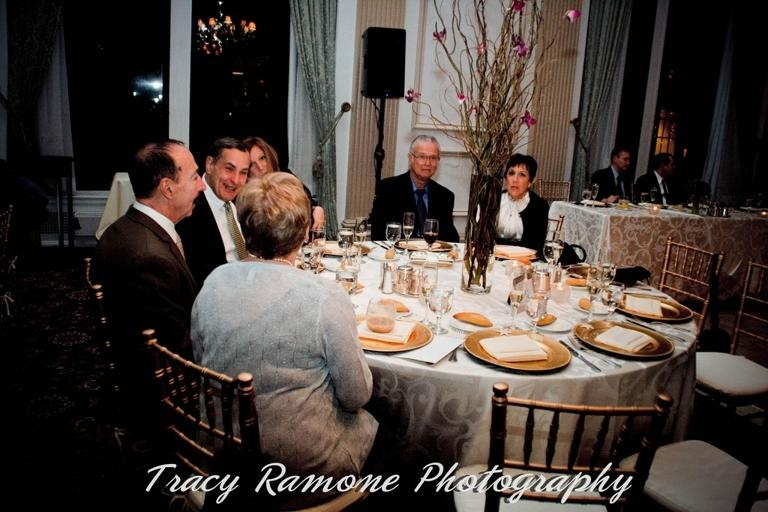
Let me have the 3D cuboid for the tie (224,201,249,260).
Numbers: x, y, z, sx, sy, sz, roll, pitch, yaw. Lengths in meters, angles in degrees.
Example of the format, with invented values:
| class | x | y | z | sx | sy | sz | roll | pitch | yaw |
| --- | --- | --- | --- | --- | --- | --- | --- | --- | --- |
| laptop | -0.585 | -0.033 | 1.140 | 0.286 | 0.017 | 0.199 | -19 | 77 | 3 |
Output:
| class | x | y | z | sx | sy | sz | roll | pitch | yaw |
| --- | --- | --- | --- | --- | --- | --- | --- | --- | --- |
| tie | -0.881 | -0.140 | 2.905 | 0.065 | 0.433 | 0.060 | -27 | -23 | 11 |

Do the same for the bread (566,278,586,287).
| class | x | y | z | sx | sy | sz | roll | pitch | yaw |
| --- | --- | --- | --- | --- | --- | --- | --- | --- | --- |
| bread | 1.176 | 0.157 | 2.977 | 0.051 | 0.036 | 0.110 | 1 | 0 | 8 |

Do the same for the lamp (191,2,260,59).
| class | x | y | z | sx | sy | sz | roll | pitch | yaw |
| --- | --- | --- | --- | --- | --- | --- | --- | --- | --- |
| lamp | -1.943 | -2.748 | 6.062 | 0.590 | 0.697 | 0.650 | -7 | 12 | -37 |

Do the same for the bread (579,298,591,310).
| class | x | y | z | sx | sy | sz | roll | pitch | yaw |
| --- | --- | --- | --- | --- | --- | --- | --- | --- | --- |
| bread | 1.118 | 0.267 | 2.705 | 0.046 | 0.031 | 0.055 | -6 | 13 | -17 |

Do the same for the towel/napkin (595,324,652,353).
| class | x | y | z | sx | sy | sz | roll | pitch | yaw |
| --- | --- | --- | --- | --- | --- | --- | --- | --- | --- |
| towel/napkin | 1.142 | 0.396 | 2.322 | 0.145 | 0.039 | 0.142 | -20 | 24 | -41 |

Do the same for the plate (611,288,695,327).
| class | x | y | z | sx | sy | sz | roll | pitch | yaw |
| --- | --- | --- | --- | --- | --- | --- | --- | --- | --- |
| plate | 1.476 | 0.286 | 2.671 | 0.244 | 0.028 | 0.241 | -11 | 23 | -23 |

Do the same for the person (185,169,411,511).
| class | x | y | z | sx | sy | sz | roll | pitch | yaw |
| --- | --- | --- | --- | --- | --- | --- | --- | --- | --- |
| person | -0.399 | 0.334 | 2.048 | 0.767 | 1.340 | 0.417 | 4 | 10 | 12 |

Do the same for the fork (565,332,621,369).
| class | x | y | z | sx | sy | sz | roll | pitch | yaw |
| --- | --- | --- | --- | --- | --- | --- | --- | --- | --- |
| fork | 0.964 | 0.429 | 2.269 | 0.083 | 0.030 | 0.261 | -17 | 31 | -25 |

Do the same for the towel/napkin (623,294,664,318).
| class | x | y | z | sx | sy | sz | roll | pitch | yaw |
| --- | --- | --- | --- | --- | --- | --- | --- | --- | --- |
| towel/napkin | 1.420 | 0.274 | 2.668 | 0.125 | 0.046 | 0.130 | 6 | 18 | 14 |
